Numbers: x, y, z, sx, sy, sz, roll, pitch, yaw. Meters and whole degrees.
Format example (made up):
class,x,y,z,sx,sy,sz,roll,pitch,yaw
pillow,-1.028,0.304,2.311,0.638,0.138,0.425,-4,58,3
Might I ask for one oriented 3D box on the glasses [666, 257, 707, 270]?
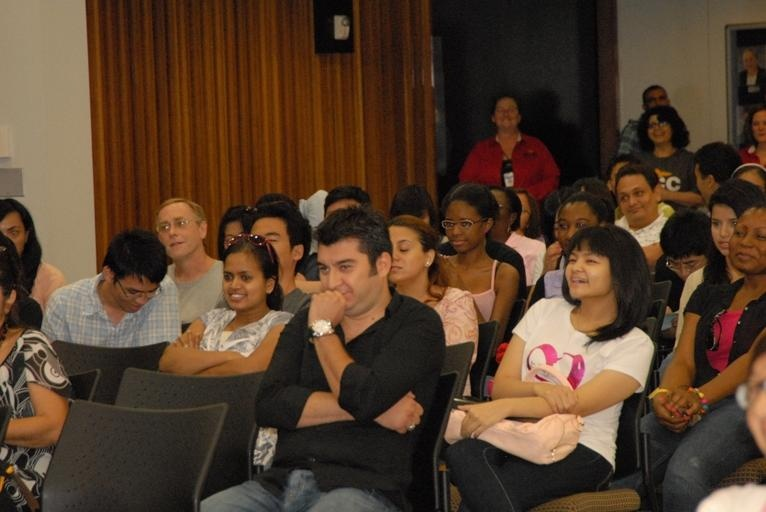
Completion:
class,x,y,z,sx,sy,sz,roll,pitch,yaw
glasses,2.040,0.051,4.352,0.119,0.038,0.121,-13,-28,42

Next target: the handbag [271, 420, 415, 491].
class,x,y,z,sx,sy,sz,roll,pitch,yaw
handbag,-0.159,0.794,2.583,0.584,0.255,0.198,-1,9,4

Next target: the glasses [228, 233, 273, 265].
class,x,y,z,sx,sy,sz,roll,pitch,yaw
glasses,-0.720,-0.037,3.617,0.196,0.184,0.057,7,39,24
